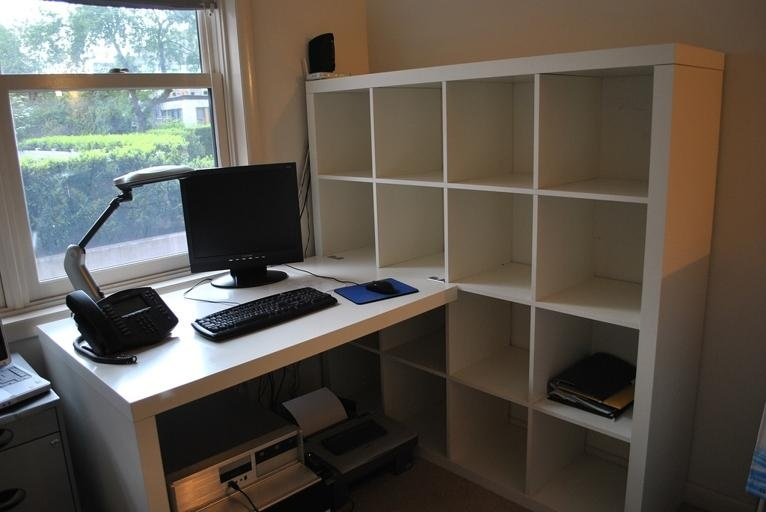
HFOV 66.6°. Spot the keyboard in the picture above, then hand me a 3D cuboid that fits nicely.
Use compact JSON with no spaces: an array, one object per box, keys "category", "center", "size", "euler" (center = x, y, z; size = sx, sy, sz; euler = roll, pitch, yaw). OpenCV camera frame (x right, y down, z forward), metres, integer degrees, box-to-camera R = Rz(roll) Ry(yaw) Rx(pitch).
[{"category":"keyboard","center":[-0.507,0.242,2.559],"size":[0.618,0.078,0.281],"euler":[-15,17,-38]}]

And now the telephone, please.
[{"category":"telephone","center":[-1.029,0.255,2.344],"size":[0.314,0.143,0.315],"euler":[25,27,30]}]

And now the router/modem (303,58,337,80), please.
[{"category":"router/modem","center":[-0.347,-1.012,3.162],"size":[0.141,0.095,0.109],"euler":[3,22,11]}]

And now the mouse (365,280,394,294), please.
[{"category":"mouse","center":[-0.005,0.135,2.706],"size":[0.109,0.038,0.060],"euler":[10,21,33]}]

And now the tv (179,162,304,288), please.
[{"category":"tv","center":[-0.690,-0.147,2.835],"size":[0.648,0.552,0.061],"euler":[-5,10,-20]}]
